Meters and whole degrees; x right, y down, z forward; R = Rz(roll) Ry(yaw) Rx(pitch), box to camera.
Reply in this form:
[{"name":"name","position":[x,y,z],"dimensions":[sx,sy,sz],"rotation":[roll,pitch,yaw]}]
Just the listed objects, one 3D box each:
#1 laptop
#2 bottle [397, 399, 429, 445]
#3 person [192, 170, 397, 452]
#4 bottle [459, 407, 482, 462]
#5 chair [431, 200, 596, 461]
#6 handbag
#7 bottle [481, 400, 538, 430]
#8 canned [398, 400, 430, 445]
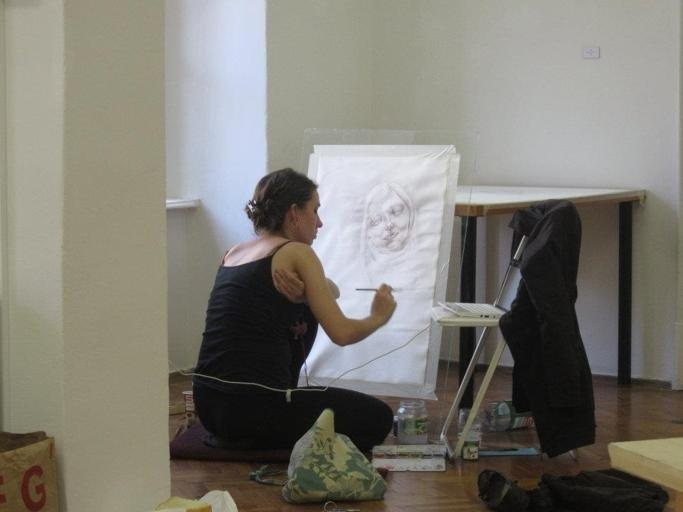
[{"name":"laptop","position":[0.634,0.119,3.296],"dimensions":[0.320,0.309,0.399],"rotation":[9,1,5]},{"name":"bottle","position":[0.335,0.798,3.450],"dimensions":[0.171,0.223,0.149],"rotation":[0,0,27]},{"name":"person","position":[-0.248,0.244,3.460],"dimensions":[0.983,1.324,0.789],"rotation":[0,-7,44]},{"name":"bottle","position":[0.597,0.831,3.350],"dimensions":[0.112,0.234,0.122],"rotation":[2,-5,0]},{"name":"chair","position":[0.805,0.319,3.844],"dimensions":[0.810,1.666,1.211],"rotation":[0,1,11]},{"name":"handbag","position":[-0.035,0.808,2.917],"dimensions":[0.413,0.314,0.265],"rotation":[-1,6,-6]},{"name":"bottle","position":[0.779,0.737,3.397],"dimensions":[0.193,0.117,0.120],"rotation":[-1,0,-20]},{"name":"canned","position":[0.332,0.793,3.418],"dimensions":[0.137,0.168,0.132],"rotation":[0,6,0]}]
